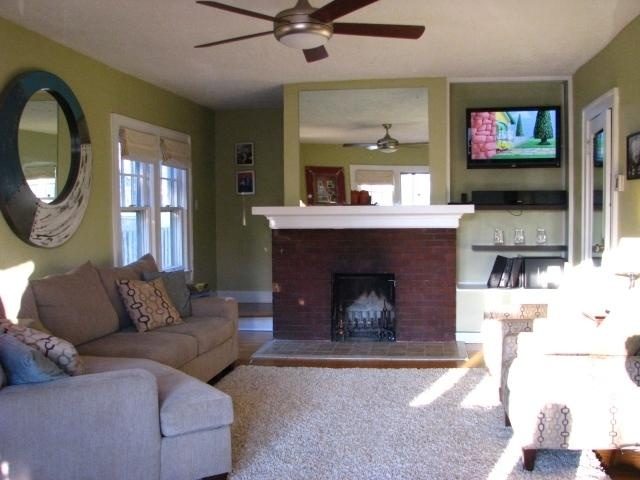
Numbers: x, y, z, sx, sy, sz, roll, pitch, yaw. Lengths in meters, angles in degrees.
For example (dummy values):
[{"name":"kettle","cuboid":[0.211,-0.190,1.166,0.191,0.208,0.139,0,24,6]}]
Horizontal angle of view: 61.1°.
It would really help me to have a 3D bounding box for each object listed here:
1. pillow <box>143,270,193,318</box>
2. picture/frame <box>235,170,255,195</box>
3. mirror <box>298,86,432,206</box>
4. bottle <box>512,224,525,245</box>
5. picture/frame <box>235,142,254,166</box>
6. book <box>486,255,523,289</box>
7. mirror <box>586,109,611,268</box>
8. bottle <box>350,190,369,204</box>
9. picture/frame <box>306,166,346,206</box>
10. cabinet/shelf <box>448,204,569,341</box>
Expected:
[{"name":"pillow","cuboid":[-1.379,0.495,4.864,0.406,0.430,0.164,1,-27,-45]},{"name":"picture/frame","cuboid":[-1.024,-0.804,7.515,0.333,0.394,0.051,0,0,7]},{"name":"mirror","cuboid":[0.554,-1.023,5.900,1.306,0.899,0.384,0,4,5]},{"name":"bottle","cuboid":[2.264,-0.050,6.160,0.138,0.193,0.200,3,9,20]},{"name":"picture/frame","cuboid":[-1.038,-1.202,7.505,0.322,0.400,0.055,0,3,6]},{"name":"book","cuboid":[2.036,0.359,5.904,0.091,0.339,0.332,14,-1,-43]},{"name":"mirror","cuboid":[2.698,-0.509,5.281,0.105,1.477,0.686,2,9,17]},{"name":"bottle","cuboid":[0.432,-0.458,5.853,0.220,0.158,0.134,0,-2,1]},{"name":"picture/frame","cuboid":[0.081,-0.599,5.953,0.444,0.476,0.048,-1,1,10]},{"name":"cabinet/shelf","cuboid":[2.162,0.442,6.352,1.522,1.415,0.537,0,-7,-19]}]
